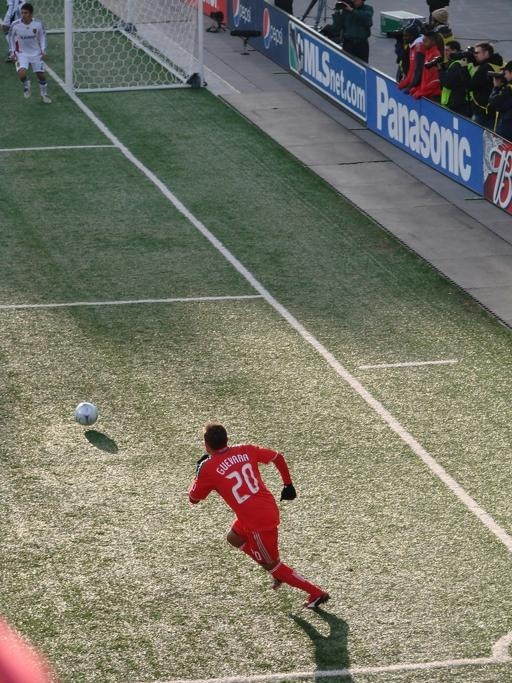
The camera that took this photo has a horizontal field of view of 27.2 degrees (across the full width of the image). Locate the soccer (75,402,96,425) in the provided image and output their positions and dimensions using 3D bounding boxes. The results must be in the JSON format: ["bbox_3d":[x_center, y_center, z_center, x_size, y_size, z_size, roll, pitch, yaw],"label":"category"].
[{"bbox_3d":[-1.365,0.590,8.732,0.194,0.177,0.181,10,25,-5],"label":"soccer"}]

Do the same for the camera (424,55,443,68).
[{"bbox_3d":[2.508,-3.956,14.844,0.264,0.092,0.145,-15,22,-11],"label":"camera"}]

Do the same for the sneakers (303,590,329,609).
[{"bbox_3d":[0.385,1.650,6.714,0.085,0.182,0.060,51,15,-14],"label":"sneakers"}]
